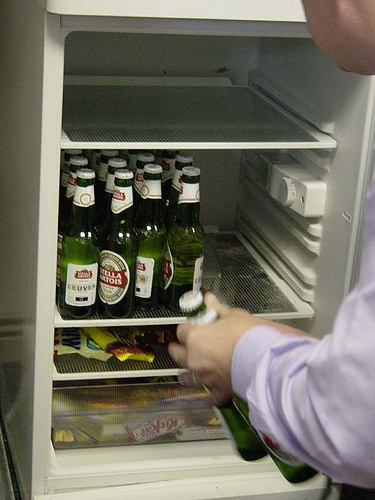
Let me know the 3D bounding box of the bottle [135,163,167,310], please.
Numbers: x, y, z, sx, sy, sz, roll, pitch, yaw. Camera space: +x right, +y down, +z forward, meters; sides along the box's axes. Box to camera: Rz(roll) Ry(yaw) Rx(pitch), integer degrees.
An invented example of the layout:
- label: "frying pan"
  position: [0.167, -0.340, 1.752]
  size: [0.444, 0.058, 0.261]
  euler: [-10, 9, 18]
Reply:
- label: "bottle"
  position: [-0.096, -0.032, 1.043]
  size: [0.079, 0.376, 0.122]
  euler: [1, 18, -4]

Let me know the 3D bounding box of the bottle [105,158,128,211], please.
- label: "bottle"
  position: [-0.171, -0.152, 0.972]
  size: [0.047, 0.130, 0.115]
  euler: [-4, 19, -17]
